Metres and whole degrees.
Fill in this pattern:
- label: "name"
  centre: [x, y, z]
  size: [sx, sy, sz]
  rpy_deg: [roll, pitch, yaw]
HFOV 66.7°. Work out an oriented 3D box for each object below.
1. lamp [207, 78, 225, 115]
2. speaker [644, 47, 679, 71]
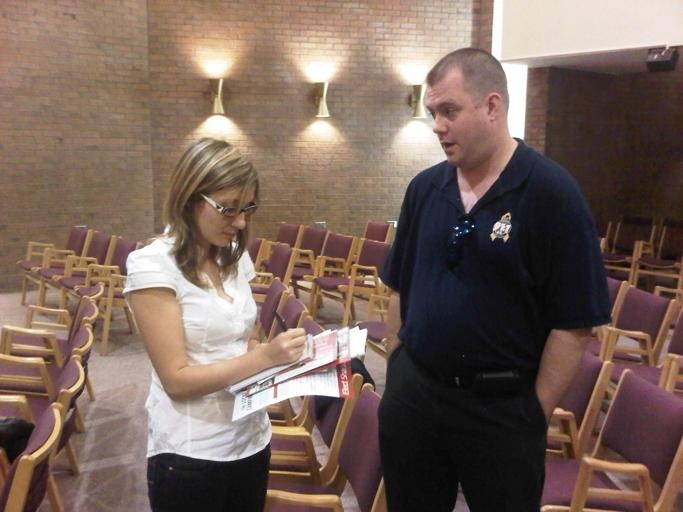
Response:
- label: "lamp"
  centre: [-2.192, -2.813, 9.159]
  size: [0.246, 0.634, 0.228]
  rpy_deg: [-3, 12, -14]
- label: "speaker"
  centre: [3.951, -2.413, 6.376]
  size: [0.307, 0.306, 0.400]
  rpy_deg: [7, 13, 33]
